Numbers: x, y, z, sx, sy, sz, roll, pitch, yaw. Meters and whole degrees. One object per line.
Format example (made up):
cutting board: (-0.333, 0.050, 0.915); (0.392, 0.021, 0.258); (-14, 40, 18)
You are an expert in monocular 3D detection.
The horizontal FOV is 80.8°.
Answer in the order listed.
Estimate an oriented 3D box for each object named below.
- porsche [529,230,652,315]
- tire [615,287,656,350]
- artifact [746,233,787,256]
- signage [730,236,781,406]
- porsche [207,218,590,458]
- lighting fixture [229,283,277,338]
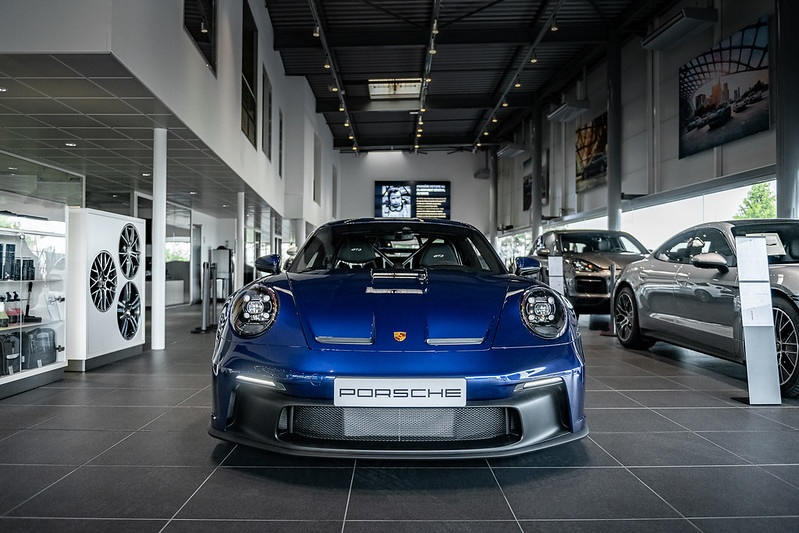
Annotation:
porsche: (3.463, 0.037, 8.847); (1.382, 1.126, 3.057); (1, -3, -3)
tire: (3.184, 0.687, 6.329); (0.332, 0.834, 0.845); (2, -9, 6)
artifact: (3.394, -0.211, 4.339); (0.300, 0.262, 0.084); (-3, 7, -13)
signage: (3.125, 0.466, 4.066); (0.302, 1.411, 0.218); (0, 3, -4)
porsche: (-0.018, 0.330, 3.239); (2.268, 1.395, 1.562); (0, 3, -1)
lighting fixture: (-0.880, 0.255, 2.911); (0.299, 0.377, 0.094); (-4, -21, 0)
